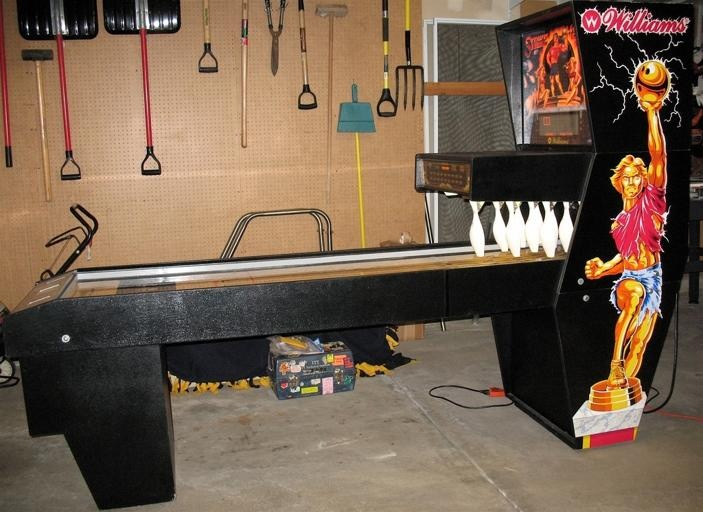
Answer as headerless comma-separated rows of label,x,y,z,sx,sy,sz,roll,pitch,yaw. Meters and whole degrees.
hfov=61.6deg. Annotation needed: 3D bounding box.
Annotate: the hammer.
hammer,-2.403,-1.016,4.673,0.238,1.154,0.158,-6,11,-15
